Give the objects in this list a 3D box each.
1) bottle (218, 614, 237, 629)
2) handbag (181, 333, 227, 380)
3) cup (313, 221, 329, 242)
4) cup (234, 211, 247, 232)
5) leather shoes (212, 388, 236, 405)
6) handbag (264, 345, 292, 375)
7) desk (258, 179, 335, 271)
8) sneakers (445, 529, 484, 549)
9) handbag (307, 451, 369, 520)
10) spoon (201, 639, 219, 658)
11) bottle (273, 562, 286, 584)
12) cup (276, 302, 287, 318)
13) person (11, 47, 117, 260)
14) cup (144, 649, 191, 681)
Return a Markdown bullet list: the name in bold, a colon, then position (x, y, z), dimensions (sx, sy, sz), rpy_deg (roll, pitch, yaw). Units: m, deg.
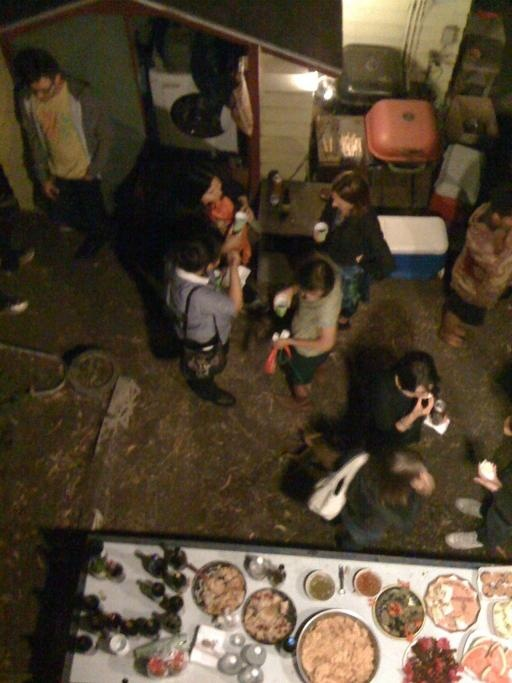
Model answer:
- **bottle**: position (-0.181, 1.939, 3.790), dimensions (0.135, 0.049, 0.092), rpy_deg (-12, 50, -5)
- **handbag**: position (-0.484, 0.162, 5.102), dimensions (0.361, 0.360, 0.487), rpy_deg (4, 83, 1)
- **cup**: position (0.709, -1.172, 5.901), dimensions (0.134, 0.197, 0.206), rpy_deg (1, 89, 7)
- **cup**: position (-0.155, -1.213, 5.611), dimensions (0.115, 0.207, 0.124), rpy_deg (3, 66, -6)
- **leather shoes**: position (-0.338, 0.615, 5.949), dimensions (0.263, 0.257, 0.127), rpy_deg (6, 86, -10)
- **handbag**: position (0.205, 0.190, 5.571), dimensions (0.262, 0.357, 0.309), rpy_deg (20, 104, -2)
- **desk**: position (0.503, -1.444, 6.838), dimensions (0.814, 0.545, 1.282), rpy_deg (5, 83, 3)
- **sneakers**: position (1.969, 1.871, 5.149), dimensions (0.315, 0.111, 0.163), rpy_deg (-1, 67, 2)
- **handbag**: position (0.731, 1.285, 4.795), dimensions (0.310, 0.787, 0.383), rpy_deg (29, 42, -12)
- **spoon**: position (-0.307, 2.053, 3.681), dimensions (0.082, 0.030, 0.085), rpy_deg (7, 64, -4)
- **bottle**: position (0.173, 1.686, 4.000), dimensions (0.102, 0.122, 0.120), rpy_deg (0, 56, 1)
- **cup**: position (0.265, -0.303, 5.283), dimensions (0.093, 0.108, 0.112), rpy_deg (8, 70, -2)
- **person**: position (-2.144, -2.095, 6.303), dimensions (0.899, 2.552, 0.668), rpy_deg (14, 51, 17)
- **cup**: position (-0.580, 2.117, 3.586), dimensions (0.219, 0.097, 0.148), rpy_deg (-6, 72, -12)
